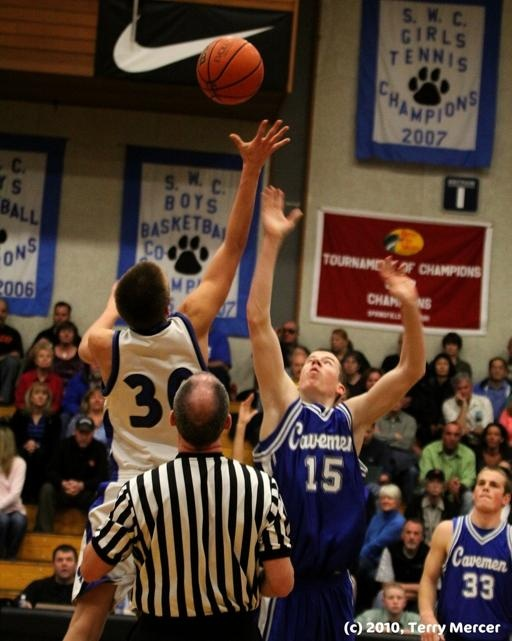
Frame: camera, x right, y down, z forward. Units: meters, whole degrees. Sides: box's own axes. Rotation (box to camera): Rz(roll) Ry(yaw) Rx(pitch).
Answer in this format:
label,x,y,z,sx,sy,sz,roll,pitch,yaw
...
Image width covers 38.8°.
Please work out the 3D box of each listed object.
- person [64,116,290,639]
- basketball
label,x,y,z,sx,sy,sz,roll,pitch,yaw
person,-0.272,0.008,2.628,0.625,1.583,0.473,4,-2,-23
basketball,-0.136,-1.232,3.686,0.276,0.380,0.313,6,10,19
